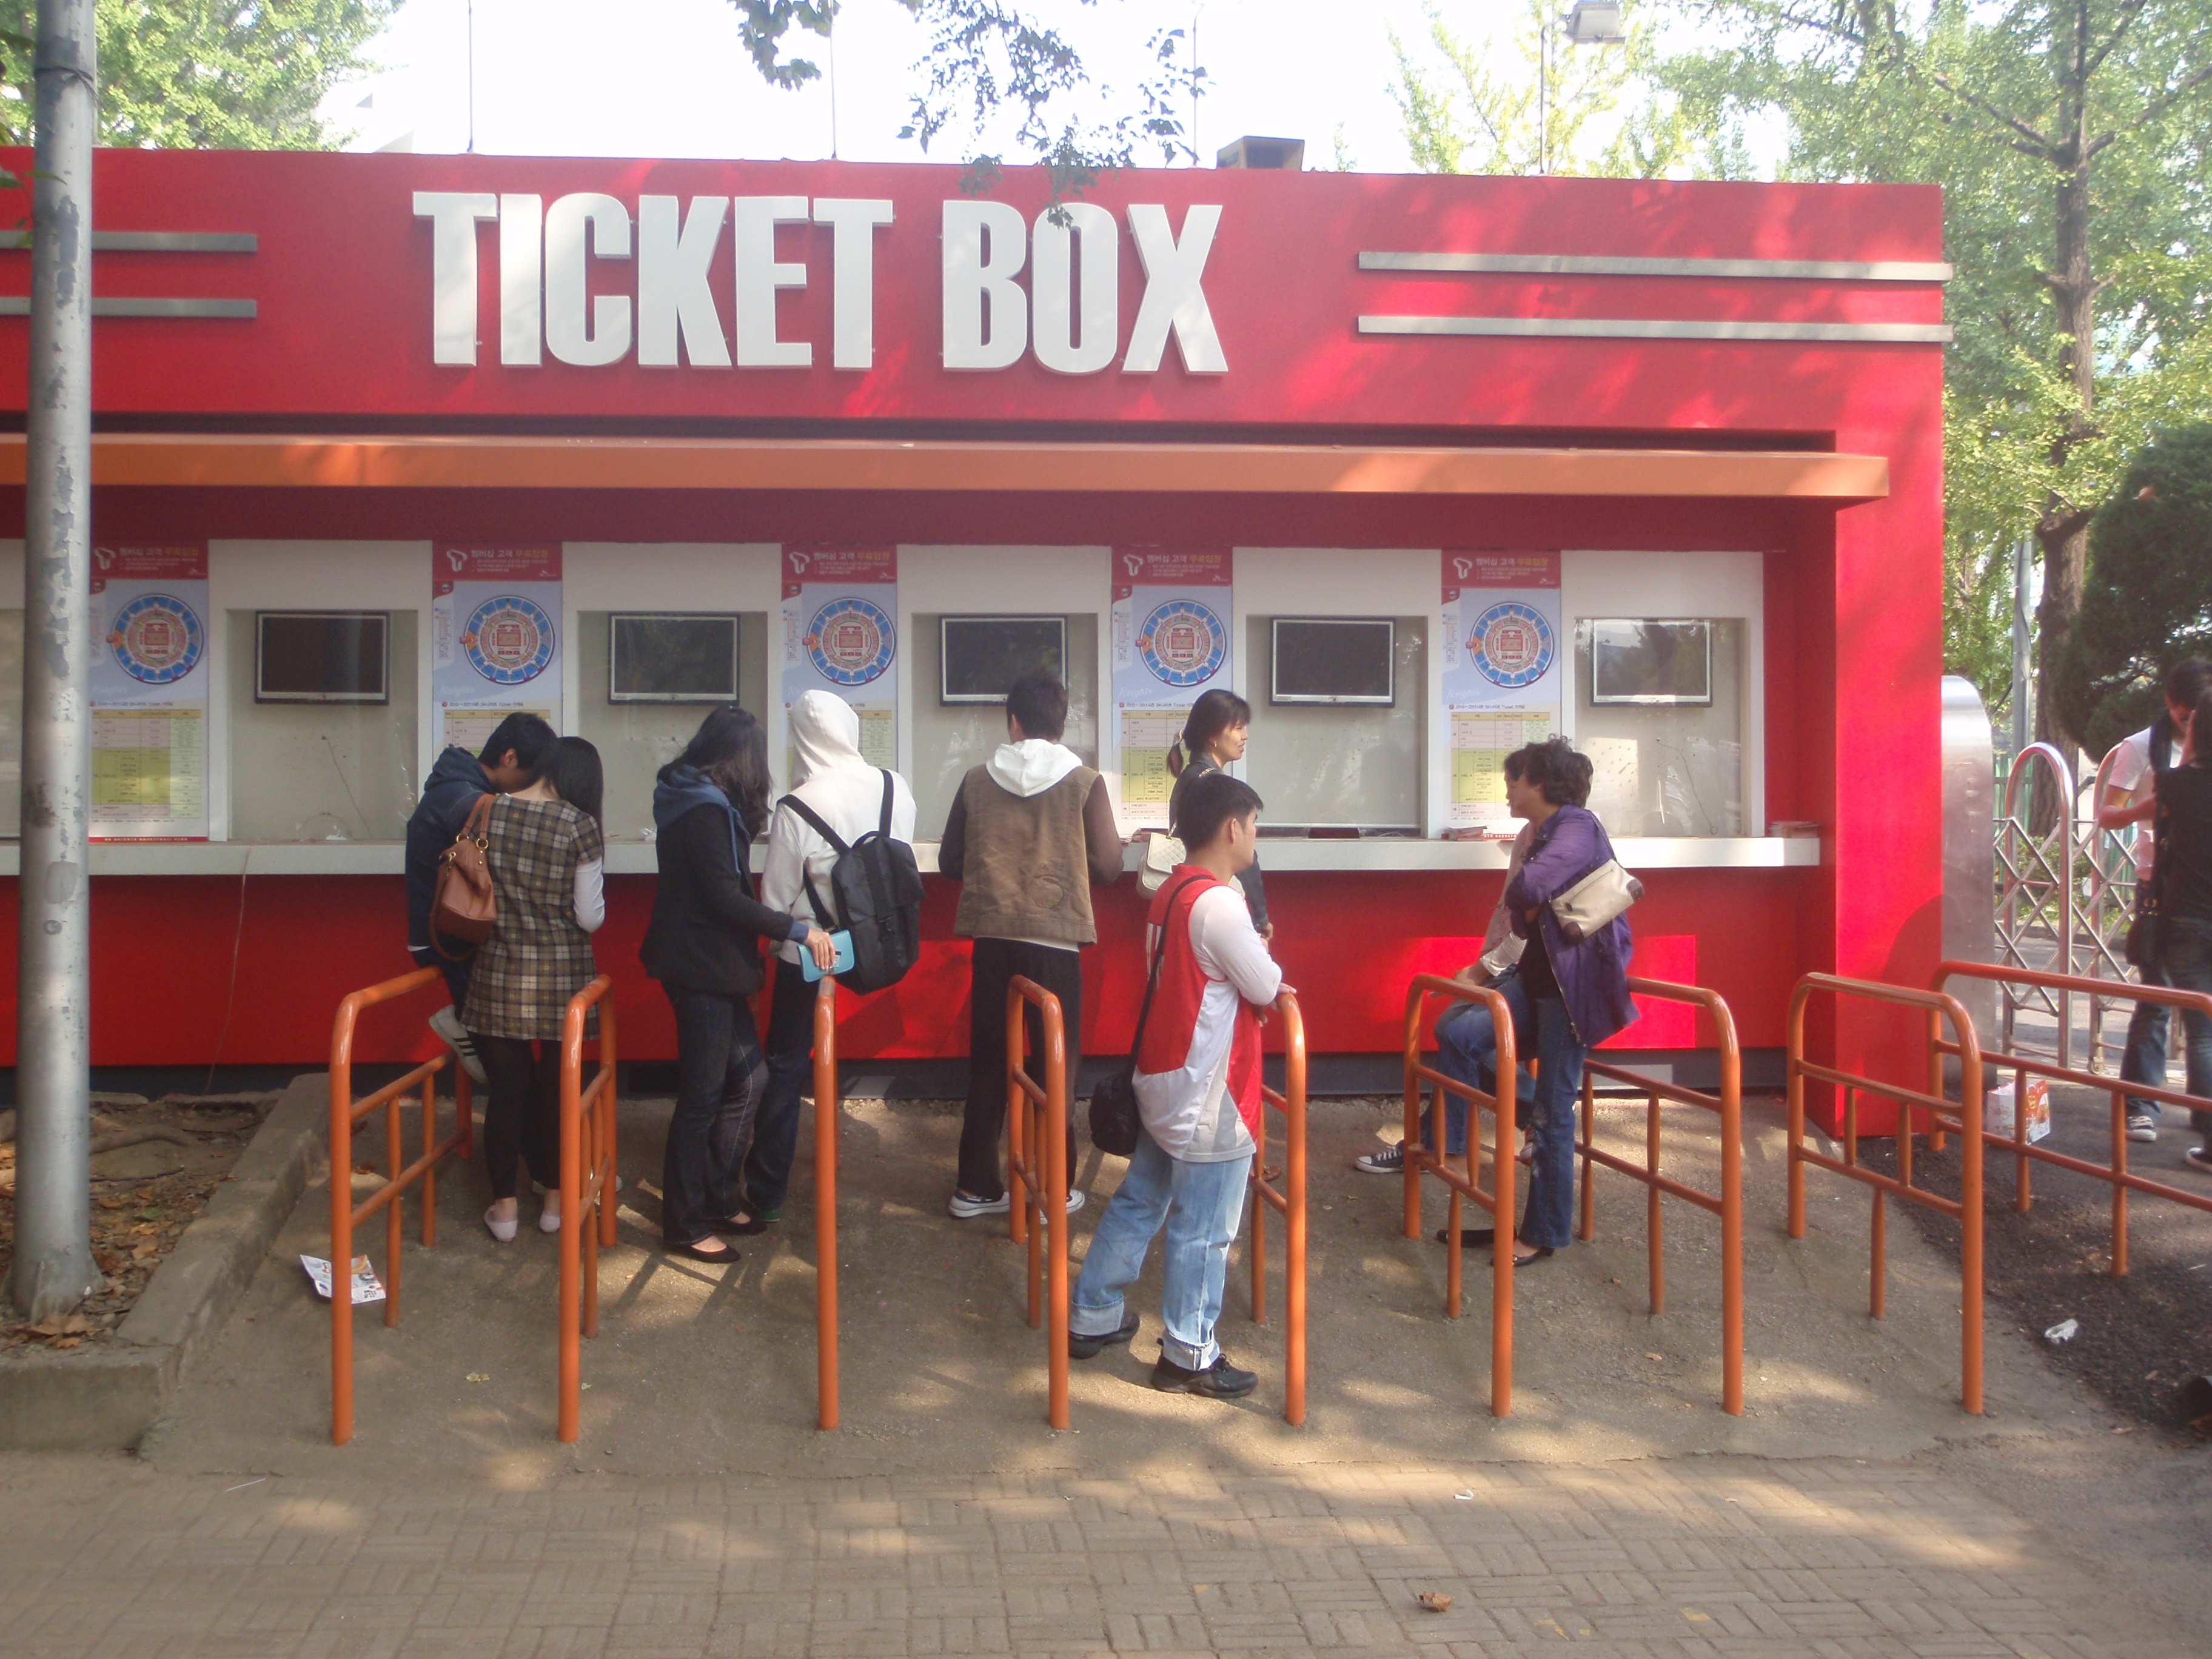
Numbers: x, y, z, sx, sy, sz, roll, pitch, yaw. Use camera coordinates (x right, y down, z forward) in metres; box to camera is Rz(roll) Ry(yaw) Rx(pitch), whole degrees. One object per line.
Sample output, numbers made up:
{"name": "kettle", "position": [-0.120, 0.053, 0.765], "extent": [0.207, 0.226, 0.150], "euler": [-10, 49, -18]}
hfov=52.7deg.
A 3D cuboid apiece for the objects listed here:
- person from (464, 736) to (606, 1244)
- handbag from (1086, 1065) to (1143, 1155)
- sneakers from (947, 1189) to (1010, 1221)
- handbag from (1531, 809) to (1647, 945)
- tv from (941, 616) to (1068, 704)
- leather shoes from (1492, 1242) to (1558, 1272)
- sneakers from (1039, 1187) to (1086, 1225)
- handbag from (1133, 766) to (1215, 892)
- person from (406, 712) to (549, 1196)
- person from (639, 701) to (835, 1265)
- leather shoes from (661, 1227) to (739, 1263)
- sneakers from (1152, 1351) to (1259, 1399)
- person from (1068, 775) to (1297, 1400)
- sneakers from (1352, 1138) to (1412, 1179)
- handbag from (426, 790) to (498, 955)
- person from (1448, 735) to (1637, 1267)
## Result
{"name": "person", "position": [-2.430, 0.672, 9.511], "extent": [0.538, 2.155, 0.502], "euler": [1, 0, -4]}
{"name": "handbag", "position": [0.007, 1.068, 8.759], "extent": [0.248, 0.540, 0.367], "euler": [1, -2, -1]}
{"name": "sneakers", "position": [-0.586, 1.660, 9.959], "extent": [0.238, 0.111, 0.104], "euler": [0, 1, -31]}
{"name": "handbag", "position": [2.079, 0.266, 9.397], "extent": [0.373, 0.447, 0.207], "euler": [2, 0, -35]}
{"name": "tv", "position": [-0.546, -0.871, 11.198], "extent": [0.476, 0.374, 0.039], "euler": [0, -2, -4]}
{"name": "leather shoes", "position": [1.807, 1.826, 9.583], "extent": [0.300, 0.122, 0.113], "euler": [5, -5, -24]}
{"name": "sneakers", "position": [-0.191, 1.643, 9.827], "extent": [0.107, 0.154, 0.341], "euler": [2, 2, 3]}
{"name": "handbag", "position": [0.242, 0.033, 9.932], "extent": [0.434, 0.507, 0.341], "euler": [7, 9, -13]}
{"name": "person", "position": [-2.733, 0.118, 9.619], "extent": [0.571, 1.225, 0.379], "euler": [24, 28, 18]}
{"name": "person", "position": [-1.676, 0.651, 9.409], "extent": [0.532, 2.370, 0.566], "euler": [1, 0, -13]}
{"name": "leather shoes", "position": [-1.724, 1.755, 9.519], "extent": [0.321, 0.148, 0.125], "euler": [0, -3, 6]}
{"name": "sneakers", "position": [0.384, 2.102, 8.664], "extent": [0.402, 0.208, 0.161], "euler": [2, -1, -7]}
{"name": "person", "position": [0.296, 0.973, 8.569], "extent": [0.790, 2.341, 0.368], "euler": [1, 0, 35]}
{"name": "sneakers", "position": [1.318, 1.545, 10.560], "extent": [0.299, 0.144, 0.114], "euler": [0, -3, 18]}
{"name": "handbag", "position": [-2.661, 0.143, 9.272], "extent": [0.245, 0.625, 0.132], "euler": [2, 0, -23]}
{"name": "person", "position": [1.904, 0.722, 9.617], "extent": [0.628, 2.162, 0.610], "euler": [1, 0, 2]}
